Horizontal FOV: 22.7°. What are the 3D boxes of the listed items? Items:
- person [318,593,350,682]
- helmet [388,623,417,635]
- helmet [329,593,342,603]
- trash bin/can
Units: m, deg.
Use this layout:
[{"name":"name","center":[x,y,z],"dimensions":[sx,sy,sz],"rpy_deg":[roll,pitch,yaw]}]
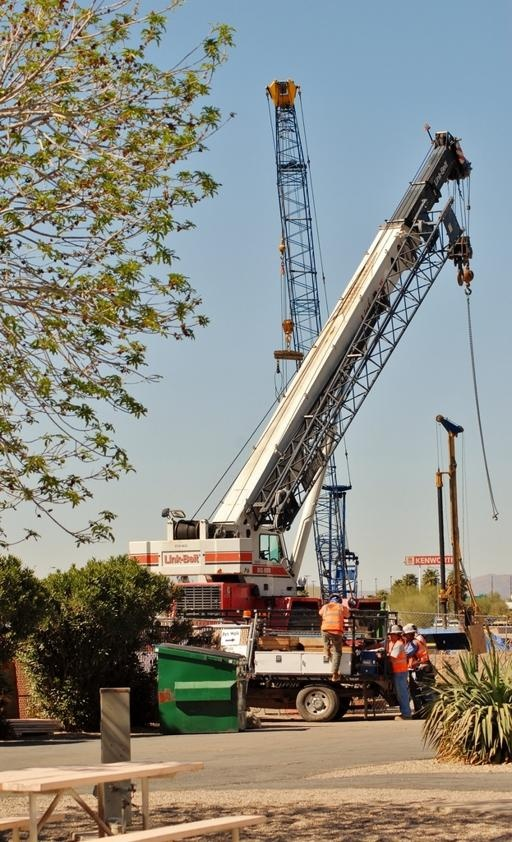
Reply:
[{"name":"person","center":[1.242,3.422,19.989],"dimensions":[0.414,1.227,0.565],"rpy_deg":[0,-13,3]},{"name":"helmet","center":[2.240,3.186,19.454],"dimensions":[0.321,0.092,0.230],"rpy_deg":[-1,-3,-16]},{"name":"helmet","center":[1.335,2.987,21.316],"dimensions":[0.169,0.195,0.186],"rpy_deg":[-5,4,2]},{"name":"trash bin/can","center":[-0.788,4.002,19.251],"dimensions":[1.271,1.188,1.255],"rpy_deg":[-1,-5,2]}]
